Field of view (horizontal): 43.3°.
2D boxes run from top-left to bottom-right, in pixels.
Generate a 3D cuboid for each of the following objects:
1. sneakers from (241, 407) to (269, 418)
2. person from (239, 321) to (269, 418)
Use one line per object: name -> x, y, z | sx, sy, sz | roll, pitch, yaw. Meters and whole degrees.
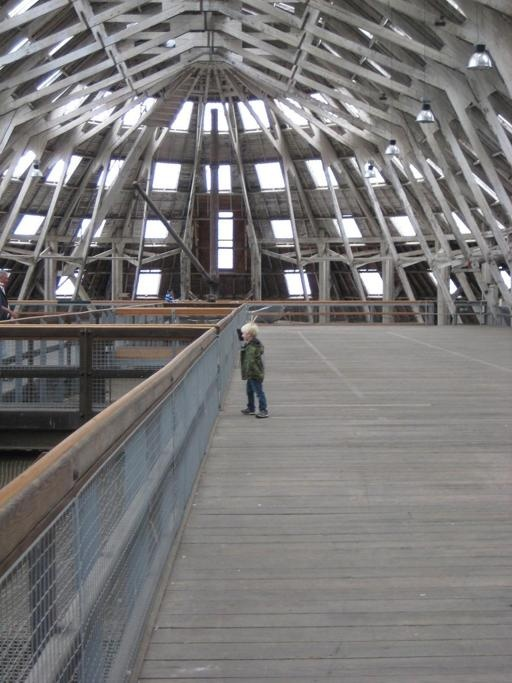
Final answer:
sneakers -> -0.008, 0.840, 7.591 | 0.334, 0.128, 0.108 | 6, -4, 20
person -> -0.006, 0.335, 7.575 | 0.363, 1.104, 0.506 | 3, 5, -9
